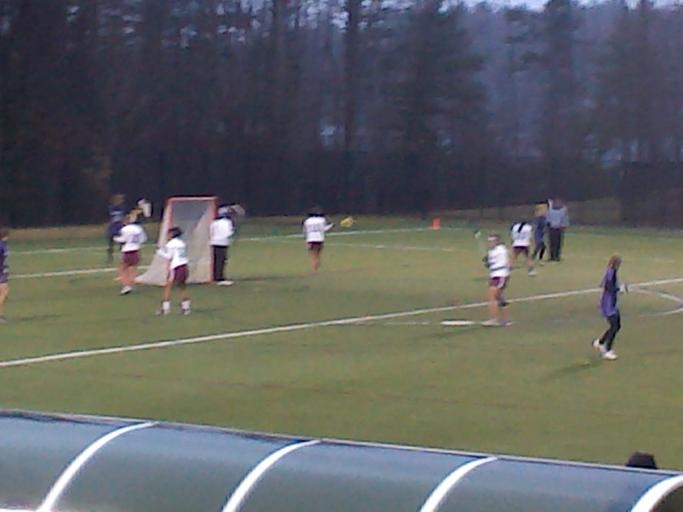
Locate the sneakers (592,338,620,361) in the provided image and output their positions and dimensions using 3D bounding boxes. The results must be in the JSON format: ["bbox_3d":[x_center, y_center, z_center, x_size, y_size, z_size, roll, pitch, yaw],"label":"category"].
[{"bbox_3d":[5.451,1.950,23.213,0.684,0.206,0.267,43,-34,-24],"label":"sneakers"}]

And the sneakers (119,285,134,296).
[{"bbox_3d":[-5.591,0.872,29.163,0.301,0.294,0.616,-1,5,-13],"label":"sneakers"}]

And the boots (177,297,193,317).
[{"bbox_3d":[-3.640,1.200,26.535,0.271,0.379,0.376,-1,1,-25],"label":"boots"}]

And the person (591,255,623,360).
[{"bbox_3d":[5.565,1.031,23.487,0.509,2.163,1.487,2,6,13],"label":"person"}]

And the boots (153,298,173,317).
[{"bbox_3d":[-4.221,1.214,26.555,0.493,0.463,0.264,8,7,20],"label":"boots"}]
